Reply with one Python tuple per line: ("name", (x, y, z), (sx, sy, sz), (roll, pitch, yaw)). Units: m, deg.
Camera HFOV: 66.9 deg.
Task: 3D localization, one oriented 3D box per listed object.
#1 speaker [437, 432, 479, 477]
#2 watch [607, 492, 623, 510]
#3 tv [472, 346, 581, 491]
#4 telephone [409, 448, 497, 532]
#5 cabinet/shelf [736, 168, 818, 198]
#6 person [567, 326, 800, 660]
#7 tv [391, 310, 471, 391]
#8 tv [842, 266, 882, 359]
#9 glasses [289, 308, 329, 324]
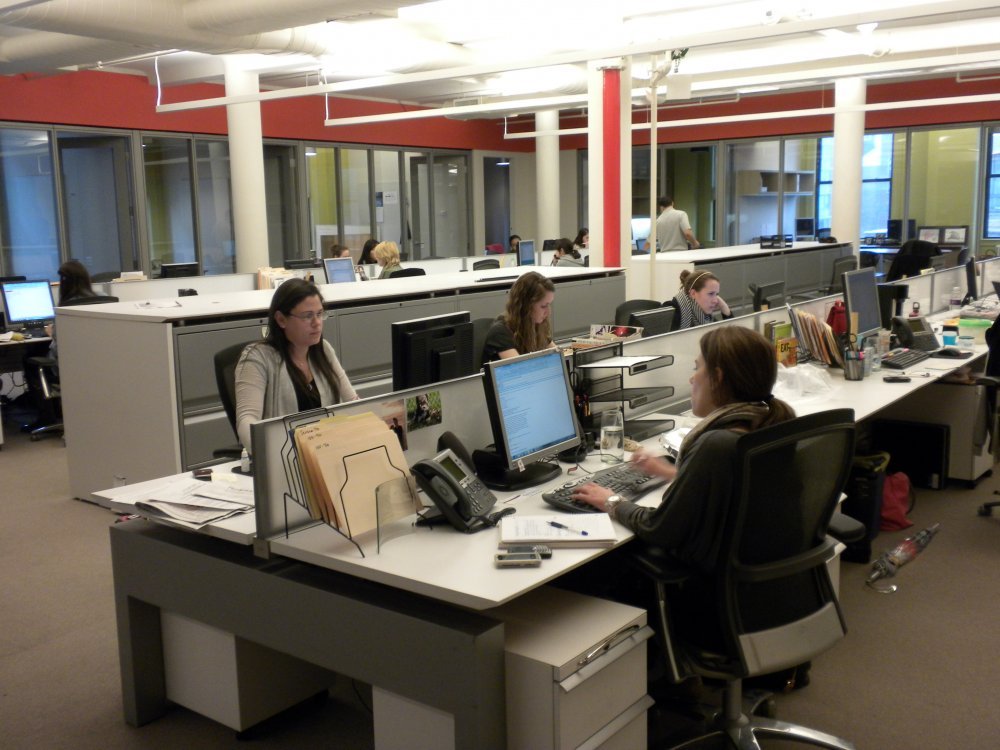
("speaker", (-0.165, 0.310, 2.945), (0.053, 0.169, 0.123), (-20, -26, 15))
("watch", (0.422, 0.463, 2.811), (0.040, 0.032, 0.042), (2, 5, 25))
("tv", (0.068, 0.171, 3.244), (0.309, 0.526, 0.527), (2, 8, 40))
("telephone", (-0.168, 0.406, 2.707), (0.117, 0.300, 0.273), (-30, 41, 25))
("cabinet/shelf", (5.374, -3.753, 14.986), (1.607, 0.501, 0.125), (13, 19, 39))
("person", (0.676, 0.469, 2.868), (0.770, 1.328, 0.617), (14, 13, 43))
("tv", (-0.270, -0.073, 3.482), (0.103, 0.382, 0.439), (14, 22, 43))
("tv", (2.478, -0.406, 5.236), (0.076, 0.451, 0.612), (-1, 10, 34))
("glasses", (-0.876, -0.279, 3.571), (0.095, 0.062, 0.200), (11, 18, 34))
